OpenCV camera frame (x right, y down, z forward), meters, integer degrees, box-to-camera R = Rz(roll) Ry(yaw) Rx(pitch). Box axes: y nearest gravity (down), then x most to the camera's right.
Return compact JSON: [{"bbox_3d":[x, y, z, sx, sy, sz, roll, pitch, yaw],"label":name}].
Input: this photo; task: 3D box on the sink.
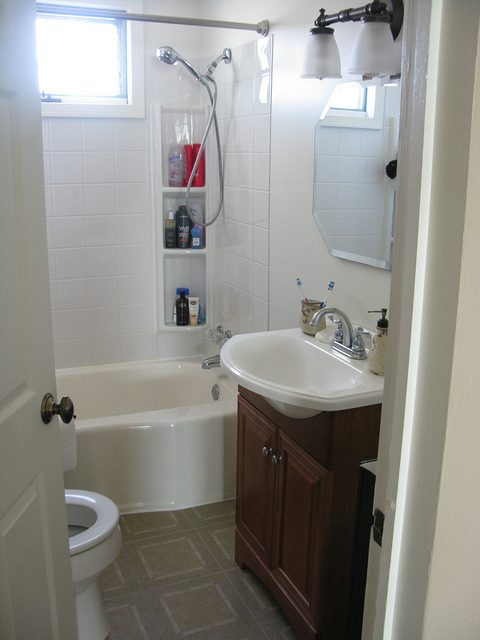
[{"bbox_3d":[0.199,0.112,1.465,0.479,0.227,0.493,-6,15,-28],"label":"sink"}]
